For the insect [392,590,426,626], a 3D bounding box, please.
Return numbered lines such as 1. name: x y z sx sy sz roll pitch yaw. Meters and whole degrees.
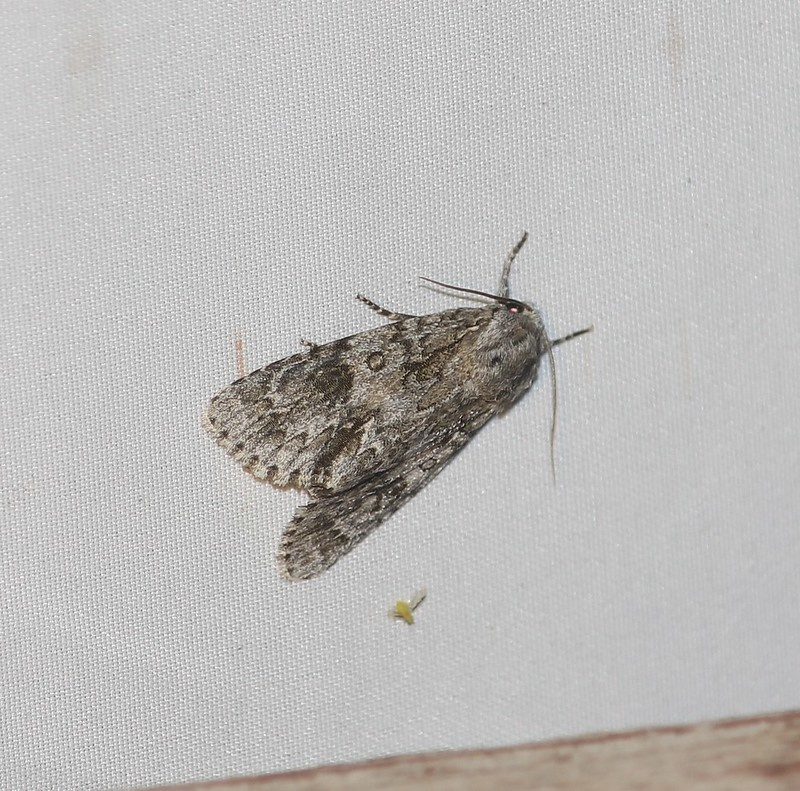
1. insect: 0.020 0.451 2.541 0.047 0.054 0.077 19 51 27
